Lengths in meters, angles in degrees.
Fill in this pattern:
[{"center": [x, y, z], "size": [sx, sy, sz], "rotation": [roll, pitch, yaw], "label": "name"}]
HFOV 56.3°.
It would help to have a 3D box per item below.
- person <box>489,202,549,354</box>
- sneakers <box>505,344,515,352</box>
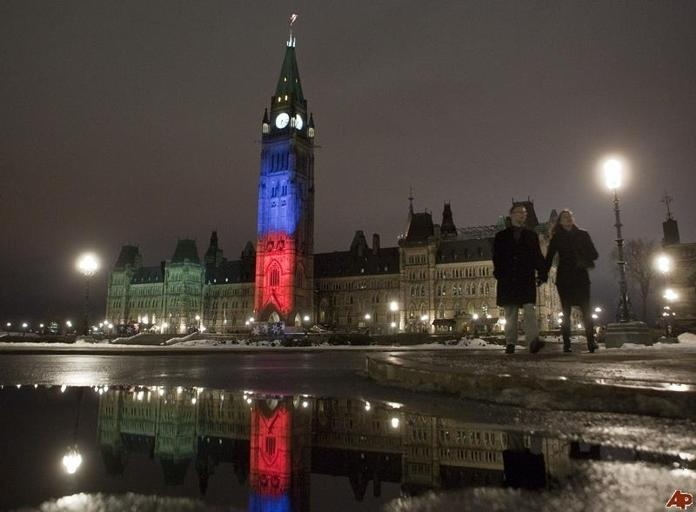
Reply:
[{"center": [2.833, 0.281, 10.825], "size": [0.817, 2.624, 1.373], "rotation": [-4, -9, 13], "label": "person"}, {"center": [2.668, 1.507, 10.735], "size": [0.126, 0.190, 0.137], "rotation": [4, 11, 20], "label": "sneakers"}]
